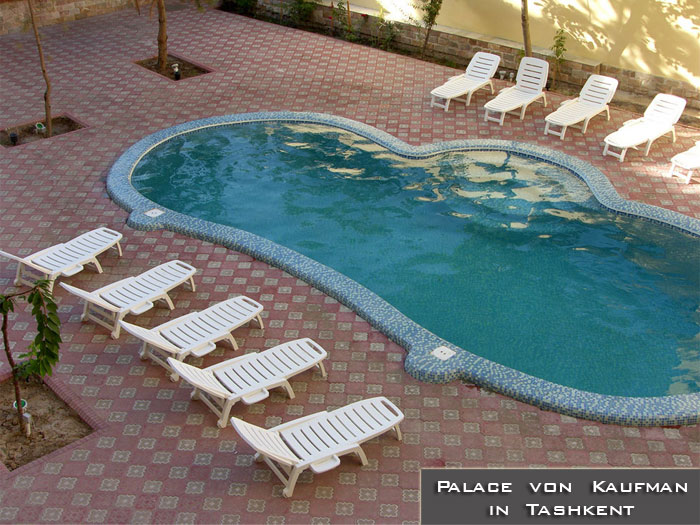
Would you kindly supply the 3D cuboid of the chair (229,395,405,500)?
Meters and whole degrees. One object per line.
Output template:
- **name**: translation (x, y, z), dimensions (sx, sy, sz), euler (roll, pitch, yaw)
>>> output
- **chair**: translation (-0.249, 1.752, 5.332), dimensions (1.808, 0.468, 0.757), euler (-7, 35, -33)

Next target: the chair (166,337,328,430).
- **chair**: translation (-1.095, 1.281, 6.086), dimensions (1.814, 0.515, 0.760), euler (-13, 39, -38)
